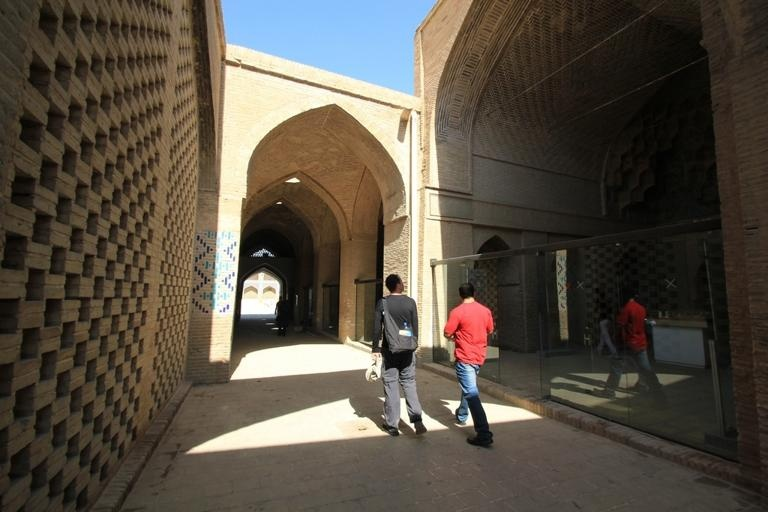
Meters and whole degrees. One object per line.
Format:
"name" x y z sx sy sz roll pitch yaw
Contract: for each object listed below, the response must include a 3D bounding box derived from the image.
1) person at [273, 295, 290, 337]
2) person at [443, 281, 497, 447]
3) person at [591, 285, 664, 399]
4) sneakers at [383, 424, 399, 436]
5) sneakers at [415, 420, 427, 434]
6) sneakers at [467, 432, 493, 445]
"person" -3.365 1.981 14.477 0.378 1.236 1.741 -1 1 -14
"person" 0.896 1.108 4.695 0.489 1.592 0.590 0 1 10
"person" 2.920 1.063 5.208 0.213 1.364 0.659 -1 1 -29
"sneakers" 0.071 1.860 4.699 0.072 0.079 0.195 12 -19 -38
"sneakers" 0.368 1.805 4.615 0.094 0.141 0.151 17 -37 -36
"sneakers" 0.969 1.848 4.464 0.249 0.101 0.118 -1 -7 17
